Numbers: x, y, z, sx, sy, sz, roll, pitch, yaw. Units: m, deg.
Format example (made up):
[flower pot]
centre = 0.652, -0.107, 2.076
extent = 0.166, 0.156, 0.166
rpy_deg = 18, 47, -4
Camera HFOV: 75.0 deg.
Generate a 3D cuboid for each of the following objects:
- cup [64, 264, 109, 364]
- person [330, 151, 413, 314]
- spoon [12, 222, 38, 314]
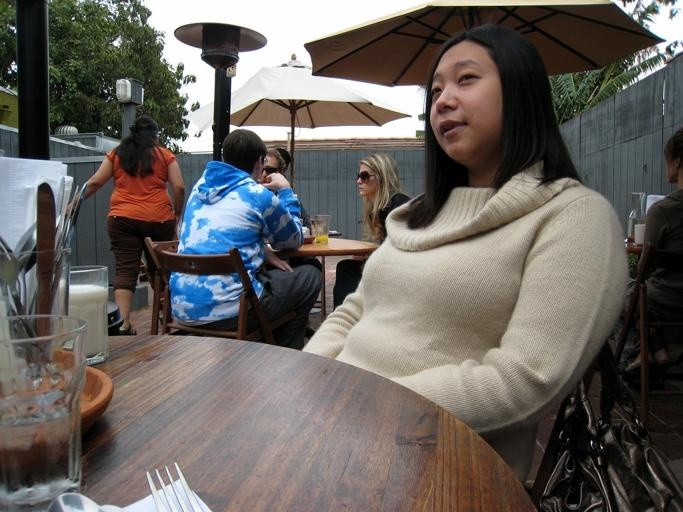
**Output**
[cup]
centre = -0.499, 0.112, 0.865
extent = 0.057, 0.205, 0.069
rpy_deg = 2, 11, -15
[person]
centre = 0.280, -0.157, 4.299
extent = 0.592, 1.661, 0.668
rpy_deg = 6, 6, -6
[spoon]
centre = -0.480, 0.032, 0.676
extent = 0.029, 0.180, 0.024
rpy_deg = 7, 16, -23
